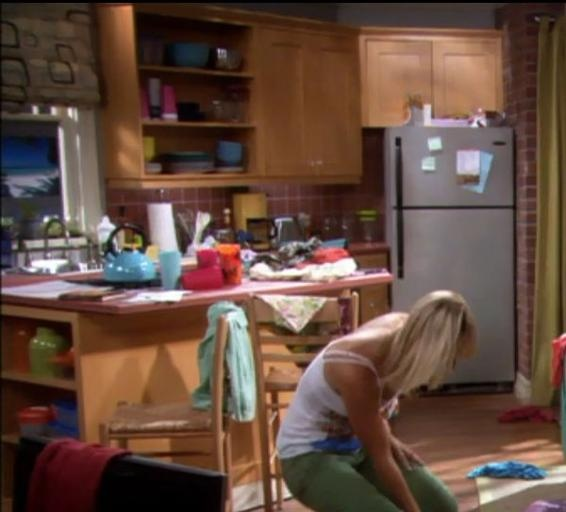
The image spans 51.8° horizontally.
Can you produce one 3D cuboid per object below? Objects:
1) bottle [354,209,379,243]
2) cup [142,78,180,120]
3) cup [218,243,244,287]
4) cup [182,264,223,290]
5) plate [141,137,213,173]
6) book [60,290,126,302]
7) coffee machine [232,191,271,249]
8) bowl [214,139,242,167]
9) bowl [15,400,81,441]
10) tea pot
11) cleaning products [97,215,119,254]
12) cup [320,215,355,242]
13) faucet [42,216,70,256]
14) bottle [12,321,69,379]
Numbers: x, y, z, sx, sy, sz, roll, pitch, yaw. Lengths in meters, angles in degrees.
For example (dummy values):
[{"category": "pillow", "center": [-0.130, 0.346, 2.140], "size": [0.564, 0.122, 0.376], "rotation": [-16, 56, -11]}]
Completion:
[{"category": "bottle", "center": [0.685, -0.245, 4.685], "size": [0.179, 0.265, 0.271], "rotation": [-1, 4, 8]}, {"category": "cup", "center": [-0.764, -0.977, 3.685], "size": [0.221, 0.258, 0.126], "rotation": [-3, 5, -20]}, {"category": "cup", "center": [-0.266, 0.041, 2.841], "size": [0.144, 0.176, 0.099], "rotation": [6, 8, 37]}, {"category": "cup", "center": [-0.363, 0.097, 2.661], "size": [0.123, 0.077, 0.123], "rotation": [0, -1, 0]}, {"category": "plate", "center": [-0.667, -0.652, 3.806], "size": [0.505, 0.261, 0.320], "rotation": [-3, 4, -23]}, {"category": "book", "center": [-0.743, 0.159, 2.384], "size": [0.226, 0.031, 0.233], "rotation": [1, 4, 26]}, {"category": "coffee machine", "center": [-0.199, -0.296, 4.256], "size": [0.269, 0.296, 0.243], "rotation": [-3, 1, 5]}, {"category": "bowl", "center": [-0.348, -0.682, 3.919], "size": [0.176, 0.138, 0.183], "rotation": [0, 6, 0]}, {"category": "bowl", "center": [-1.003, 0.704, 2.512], "size": [0.215, 0.081, 0.169], "rotation": [1, -4, 8]}, {"category": "tea pot", "center": [-0.727, -0.015, 2.768], "size": [0.257, 0.261, 0.257], "rotation": [-3, 6, 0]}, {"category": "cleaning products", "center": [-1.106, -0.134, 3.672], "size": [0.165, 0.223, 0.159], "rotation": [-2, 2, 8]}, {"category": "cup", "center": [0.457, -0.224, 4.725], "size": [0.298, 0.218, 0.101], "rotation": [-1, 5, -5]}, {"category": "faucet", "center": [-1.364, -0.108, 3.516], "size": [0.136, 0.232, 0.190], "rotation": [-2, 4, -7]}, {"category": "bottle", "center": [-1.005, 0.393, 2.444], "size": [0.204, 0.208, 0.201], "rotation": [-1, 0, 16]}]
